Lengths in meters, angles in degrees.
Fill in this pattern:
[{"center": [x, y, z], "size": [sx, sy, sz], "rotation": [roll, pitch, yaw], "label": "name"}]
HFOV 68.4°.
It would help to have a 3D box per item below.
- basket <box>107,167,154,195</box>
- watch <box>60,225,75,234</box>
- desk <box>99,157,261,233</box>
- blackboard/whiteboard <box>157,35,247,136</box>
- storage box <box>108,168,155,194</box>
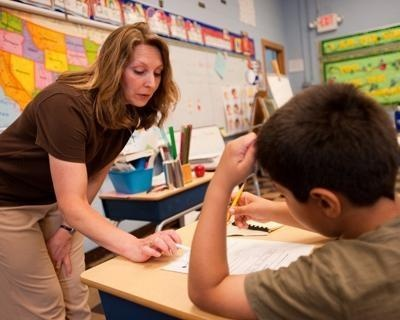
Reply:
[{"center": [-0.429, 0.137, 1.915], "size": [0.163, 0.123, 0.230], "rotation": [-3, -5, 33], "label": "basket"}, {"center": [-0.554, 0.290, 1.231], "size": [0.044, 0.013, 0.042], "rotation": [28, -7, 13], "label": "watch"}, {"center": [-0.152, 0.161, 1.506], "size": [0.312, 0.284, 0.556], "rotation": [12, 18, 39], "label": "desk"}, {"center": [0.030, -0.841, 3.316], "size": [0.070, 1.052, 1.732], "rotation": [2, 10, 28], "label": "blackboard/whiteboard"}, {"center": [-0.447, 0.128, 1.893], "size": [0.168, 0.120, 0.223], "rotation": [-3, -5, 38], "label": "storage box"}]
